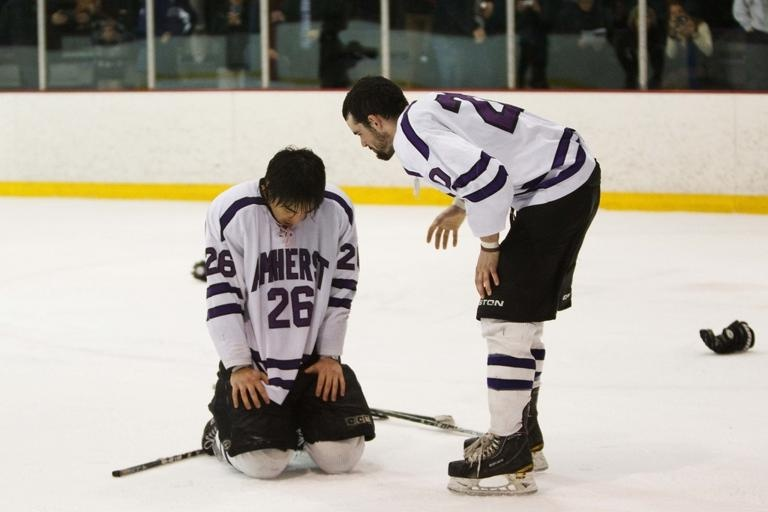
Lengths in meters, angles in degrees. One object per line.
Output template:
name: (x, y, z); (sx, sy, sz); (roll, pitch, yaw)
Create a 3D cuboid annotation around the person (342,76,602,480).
person: (0.526, 0.147, 5.964); (1.259, 2.247, 0.634); (4, 10, 10)

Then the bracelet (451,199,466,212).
bracelet: (0.442, -0.307, 6.261); (0.082, 0.059, 0.079); (-4, 6, 3)

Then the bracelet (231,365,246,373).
bracelet: (-0.823, 0.638, 5.998); (0.048, 0.024, 0.063); (-20, -10, -46)

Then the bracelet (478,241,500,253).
bracelet: (0.591, -0.056, 5.875); (0.103, 0.055, 0.058); (3, 9, 3)

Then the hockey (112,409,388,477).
hockey: (-0.807, 1.164, 6.214); (1.489, 0.085, 0.506); (-9, 22, -19)

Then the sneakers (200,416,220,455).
sneakers: (-1.016, 1.036, 6.147); (0.086, 0.216, 0.095); (4, -1, -6)
